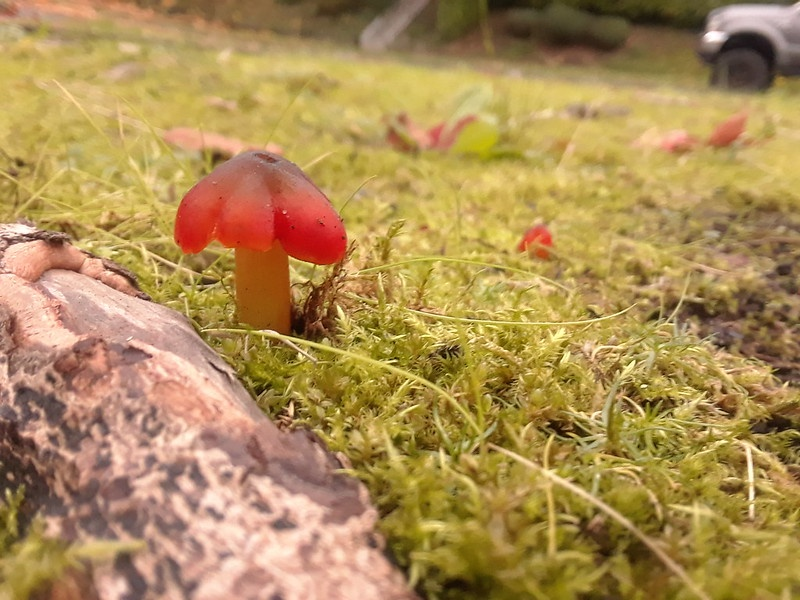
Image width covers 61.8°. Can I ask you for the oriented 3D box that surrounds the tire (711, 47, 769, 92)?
[{"bbox_3d":[0.837,-0.559,1.628,0.139,0.099,0.044,25,32,24],"label":"tire"}]
